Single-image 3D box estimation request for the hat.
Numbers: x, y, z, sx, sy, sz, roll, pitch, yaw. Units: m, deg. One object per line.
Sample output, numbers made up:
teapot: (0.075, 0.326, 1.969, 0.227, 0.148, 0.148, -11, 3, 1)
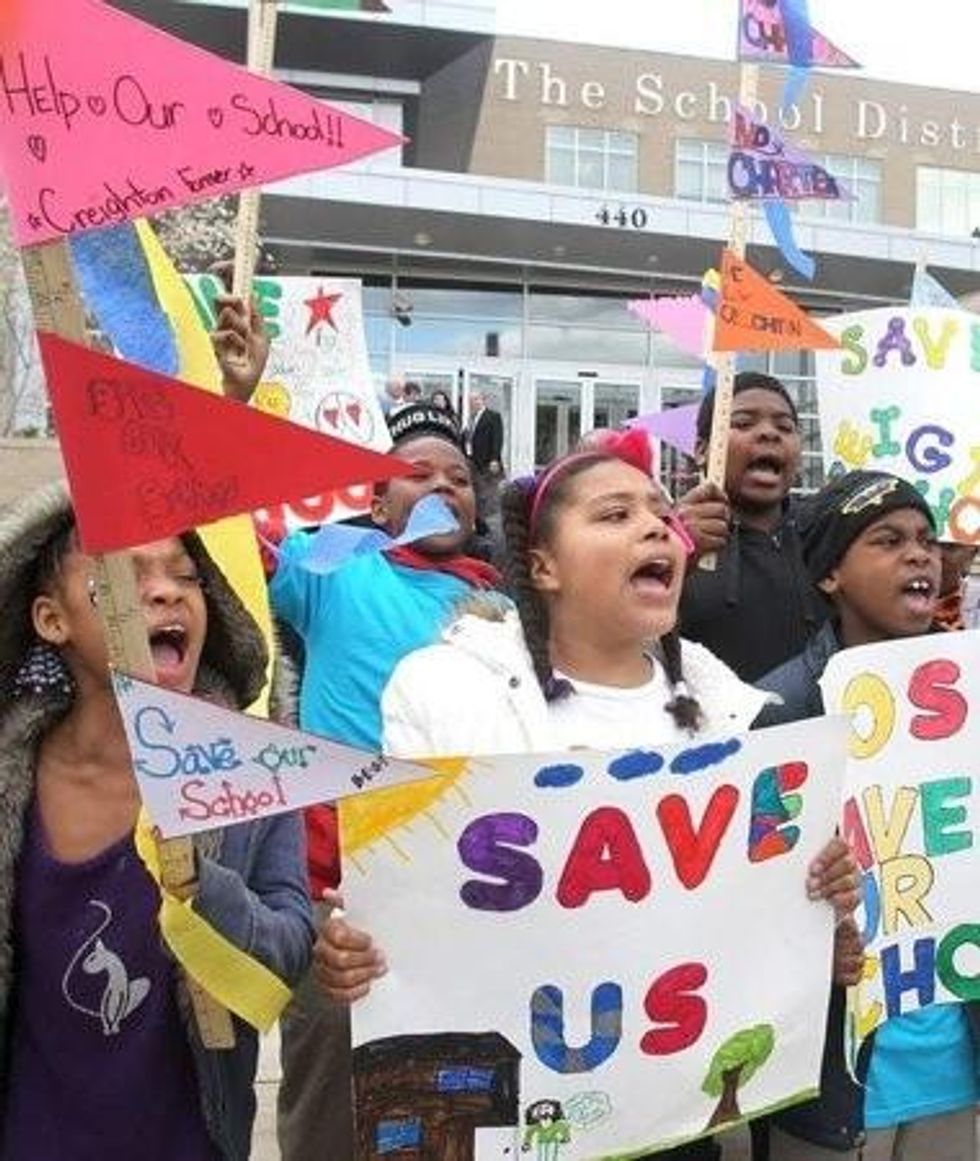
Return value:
hat: (0.913, -0.129, 3.341, 0.275, 0.272, 0.363, -3, 12, -1)
